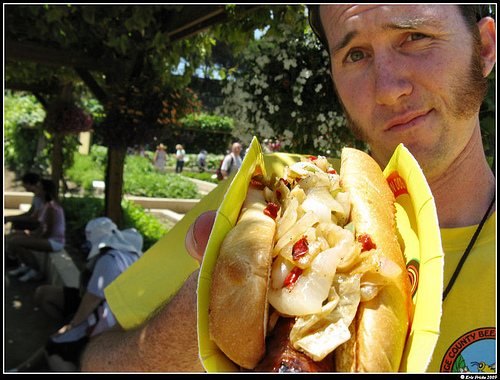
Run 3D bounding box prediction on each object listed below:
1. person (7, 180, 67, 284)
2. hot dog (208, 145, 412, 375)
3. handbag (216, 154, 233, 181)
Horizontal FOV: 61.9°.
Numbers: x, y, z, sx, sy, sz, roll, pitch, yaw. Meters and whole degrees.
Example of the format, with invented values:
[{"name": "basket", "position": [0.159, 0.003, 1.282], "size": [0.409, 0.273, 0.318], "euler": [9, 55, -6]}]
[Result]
[{"name": "person", "position": [-2.463, 0.475, 4.807], "size": [0.768, 1.202, 0.288], "euler": [6, 0, 27]}, {"name": "hot dog", "position": [0.246, 0.252, 1.615], "size": [0.734, 0.842, 0.443], "euler": [7, 0, -1]}, {"name": "handbag", "position": [-0.540, -0.472, 9.281], "size": [0.360, 0.664, 0.560], "euler": [2, 1, -21]}]
